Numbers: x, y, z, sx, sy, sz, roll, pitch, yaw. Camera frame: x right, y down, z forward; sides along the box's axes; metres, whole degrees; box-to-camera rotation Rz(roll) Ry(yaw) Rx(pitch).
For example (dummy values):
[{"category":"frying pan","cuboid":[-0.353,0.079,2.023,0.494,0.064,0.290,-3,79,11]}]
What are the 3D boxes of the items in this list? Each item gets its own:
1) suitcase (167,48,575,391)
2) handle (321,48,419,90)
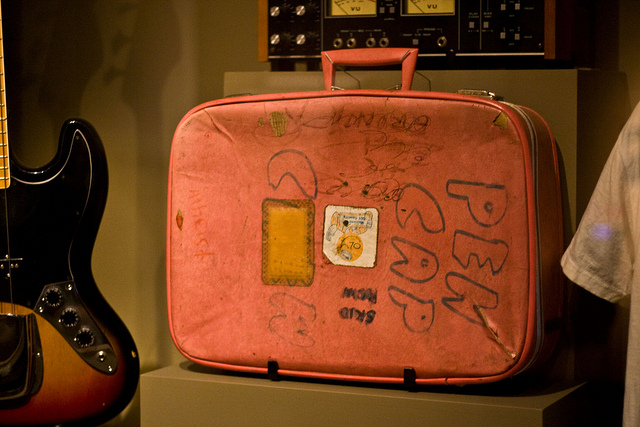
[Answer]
[{"category":"suitcase","cuboid":[0.125,0.043,1.635,0.685,0.622,0.260,1,3,15]},{"category":"handle","cuboid":[0.106,-0.307,1.678,0.220,0.145,0.046,0,-19,6]}]
